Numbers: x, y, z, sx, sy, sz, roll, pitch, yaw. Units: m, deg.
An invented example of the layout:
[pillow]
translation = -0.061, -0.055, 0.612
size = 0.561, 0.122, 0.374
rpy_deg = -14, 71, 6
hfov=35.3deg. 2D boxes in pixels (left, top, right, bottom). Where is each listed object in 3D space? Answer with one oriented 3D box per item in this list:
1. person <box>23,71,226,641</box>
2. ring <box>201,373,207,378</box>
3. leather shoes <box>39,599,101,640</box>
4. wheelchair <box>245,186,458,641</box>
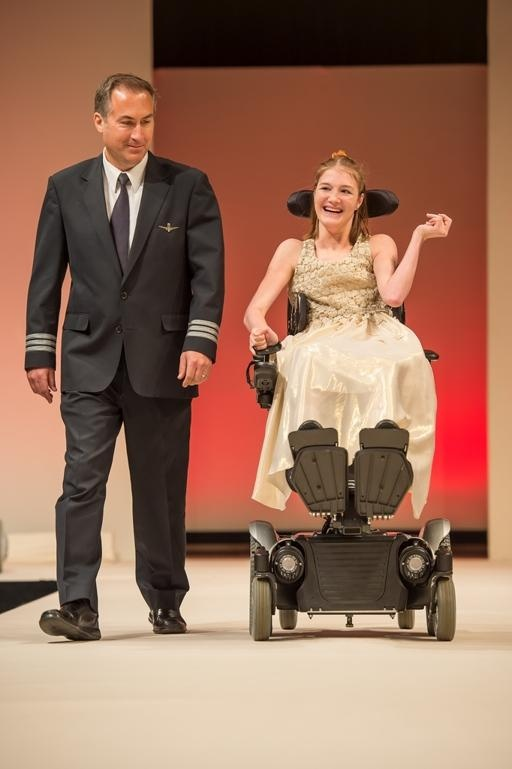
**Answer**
[person]
translation = -0.403, -0.080, 2.223
size = 0.666, 1.451, 0.497
rpy_deg = -1, 5, -32
[ring]
translation = -0.137, -0.022, 2.135
size = 0.011, 0.011, 0.013
rpy_deg = -1, 16, -6
[leather shoes]
translation = -0.450, 0.589, 1.977
size = 0.076, 0.106, 0.178
rpy_deg = -21, -37, 23
[wheelchair]
translation = 0.248, 0.043, 2.154
size = 0.539, 1.329, 0.583
rpy_deg = 2, -3, -1
